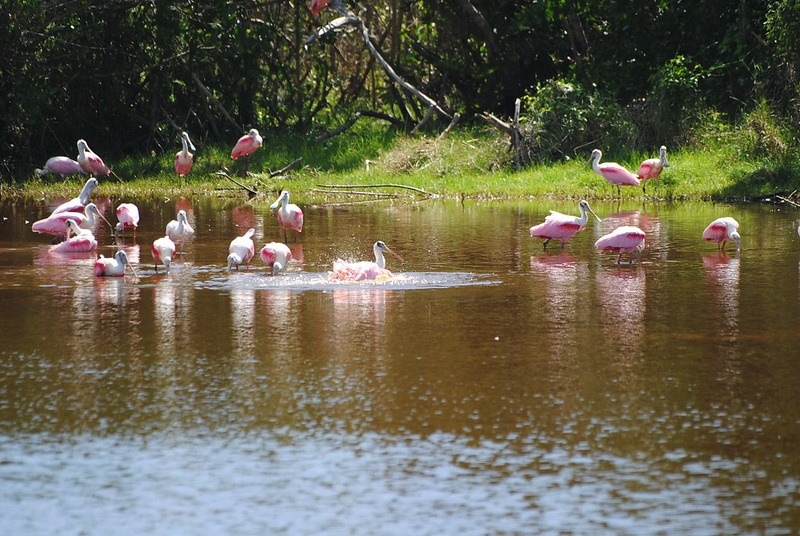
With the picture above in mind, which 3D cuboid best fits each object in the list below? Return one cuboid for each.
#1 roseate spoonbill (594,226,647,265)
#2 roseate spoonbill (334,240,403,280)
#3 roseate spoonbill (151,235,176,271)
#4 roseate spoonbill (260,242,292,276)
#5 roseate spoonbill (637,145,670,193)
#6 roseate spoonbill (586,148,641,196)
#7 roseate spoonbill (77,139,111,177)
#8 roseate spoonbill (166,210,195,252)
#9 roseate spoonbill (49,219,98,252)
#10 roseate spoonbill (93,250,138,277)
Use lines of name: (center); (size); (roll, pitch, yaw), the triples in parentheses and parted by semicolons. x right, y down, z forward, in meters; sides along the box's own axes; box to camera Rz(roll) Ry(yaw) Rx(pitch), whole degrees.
roseate spoonbill: (3.758, -0.452, 17.397); (0.992, 0.838, 0.588); (1, 23, 19)
roseate spoonbill: (-0.443, -0.015, 16.041); (1.018, 0.777, 0.438); (-2, -2, 32)
roseate spoonbill: (-3.763, -0.276, 16.903); (0.310, 0.445, 0.705); (2, 19, -11)
roseate spoonbill: (-1.977, -0.193, 16.702); (0.317, 0.394, 0.600); (-1, 17, -20)
roseate spoonbill: (6.646, -2.655, 27.677); (0.558, 1.247, 1.557); (-1, 14, -17)
roseate spoonbill: (5.709, -2.552, 27.835); (1.179, 1.280, 1.654); (2, 16, 9)
roseate spoonbill: (-10.043, -3.551, 34.311); (0.710, 1.360, 1.385); (8, 13, 26)
roseate spoonbill: (-3.826, -0.680, 18.735); (0.488, 0.978, 1.212); (-1, 4, -19)
roseate spoonbill: (-5.991, -0.602, 19.230); (0.877, 0.642, 0.579); (-12, 33, -22)
roseate spoonbill: (-4.567, -0.066, 16.610); (0.598, 0.421, 0.390); (-2, 4, 42)
